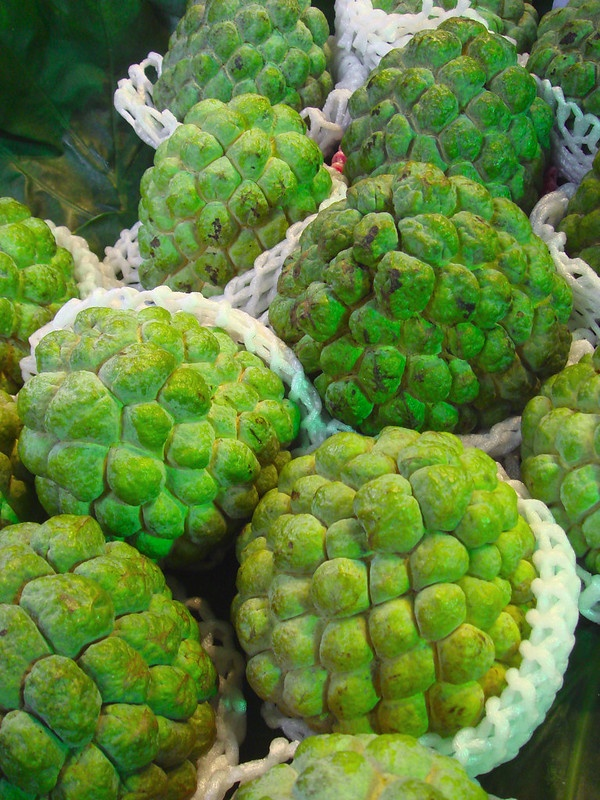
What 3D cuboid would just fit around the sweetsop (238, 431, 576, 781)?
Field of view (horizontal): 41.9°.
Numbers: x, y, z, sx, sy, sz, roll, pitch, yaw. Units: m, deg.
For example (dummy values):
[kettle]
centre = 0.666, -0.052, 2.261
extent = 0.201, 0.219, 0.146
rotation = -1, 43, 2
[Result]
[sweetsop]
centre = 0.088, 0.217, 0.978
extent = 0.418, 0.348, 0.388
rotation = 8, 79, -26
